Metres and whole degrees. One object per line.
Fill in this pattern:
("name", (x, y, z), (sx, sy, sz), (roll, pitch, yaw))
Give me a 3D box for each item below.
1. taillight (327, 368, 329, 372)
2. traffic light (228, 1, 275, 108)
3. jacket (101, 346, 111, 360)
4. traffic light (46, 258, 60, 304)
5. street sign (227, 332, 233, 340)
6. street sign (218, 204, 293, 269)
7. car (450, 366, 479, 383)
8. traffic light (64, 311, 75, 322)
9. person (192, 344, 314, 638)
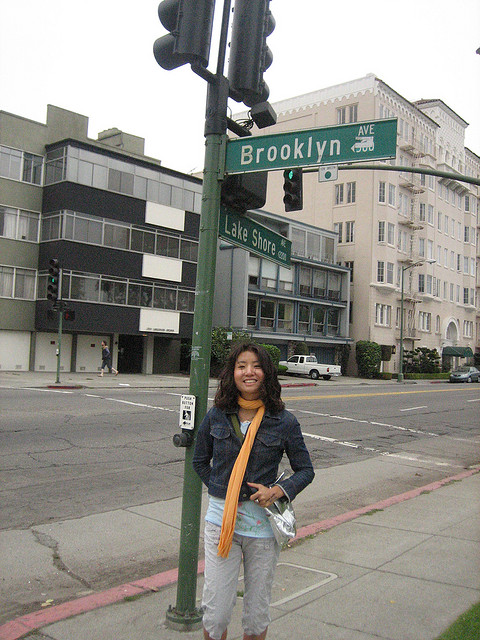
("taillight", (6.128, 3.485, 37.776), (0.133, 0.261, 0.056), (4, -2, -35))
("traffic light", (0.103, -2.015, 4.089), (0.229, 0.512, 0.406), (2, -2, 34))
("jacket", (-7.306, 1.786, 29.373), (0.478, 0.906, 0.852), (2, -5, 2))
("traffic light", (-7.052, -1.504, 20.510), (0.389, 1.509, 0.838), (3, -2, -20))
("street sign", (-0.601, 0.834, 29.514), (0.269, 0.383, 0.301), (-1, -6, 15))
("street sign", (0.133, -0.610, 4.076), (0.032, 0.210, 0.769), (-14, 36, -41))
("car", (20.319, 4.995, 49.264), (1.458, 1.401, 4.088), (2, -3, 41))
("traffic light", (-7.007, -0.181, 22.181), (0.554, 0.350, 0.315), (2, -2, 42))
("person", (0.057, 0.785, 2.508), (0.565, 0.871, 0.412), (3, -2, -5))
